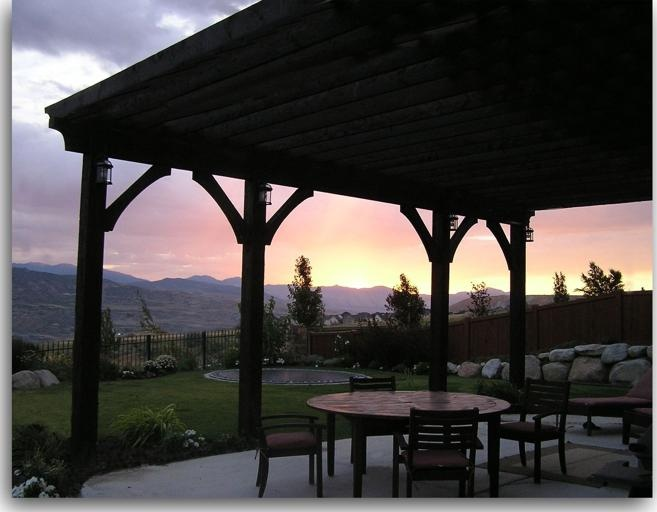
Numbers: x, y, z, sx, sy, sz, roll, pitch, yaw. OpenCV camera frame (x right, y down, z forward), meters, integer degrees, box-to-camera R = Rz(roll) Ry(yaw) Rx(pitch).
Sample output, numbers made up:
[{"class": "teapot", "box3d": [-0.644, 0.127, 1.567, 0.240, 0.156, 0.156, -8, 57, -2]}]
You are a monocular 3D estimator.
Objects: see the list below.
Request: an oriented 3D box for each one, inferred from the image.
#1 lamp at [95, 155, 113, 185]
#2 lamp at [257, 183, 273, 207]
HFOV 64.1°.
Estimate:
[{"class": "lamp", "box3d": [-2.591, -0.986, 6.123, 0.192, 0.329, 0.216, -5, -6, 19]}, {"class": "lamp", "box3d": [-0.854, -0.821, 7.182, 0.229, 0.356, 0.276, 0, -1, -5]}]
